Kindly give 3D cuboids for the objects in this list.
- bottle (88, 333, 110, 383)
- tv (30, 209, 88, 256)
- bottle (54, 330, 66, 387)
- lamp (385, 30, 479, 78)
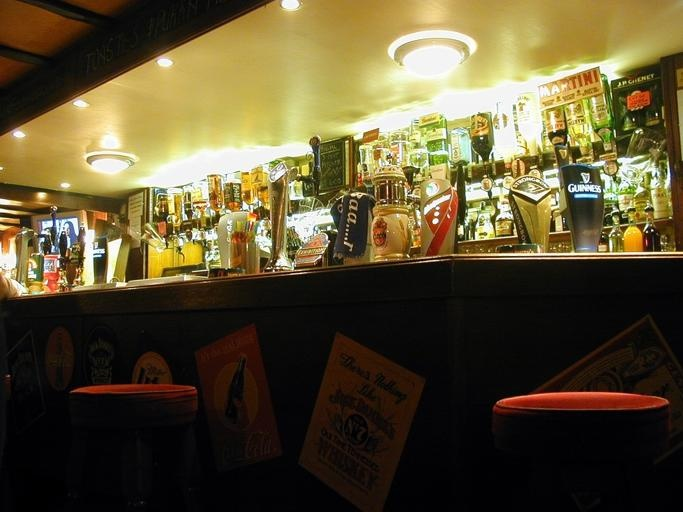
[{"bbox_3d":[-1.034,0.443,2.278,0.185,0.196,0.043,-1,4,42],"label":"bottle"},{"bbox_3d":[-2.740,-0.233,5.203,0.528,0.453,0.276,0,0,8],"label":"tv"},{"bbox_3d":[-1.294,0.481,2.453,0.082,0.266,0.042,-2,3,44],"label":"bottle"},{"bbox_3d":[0.618,-1.351,3.535,0.599,0.127,0.400,-5,4,-11],"label":"lamp"}]
